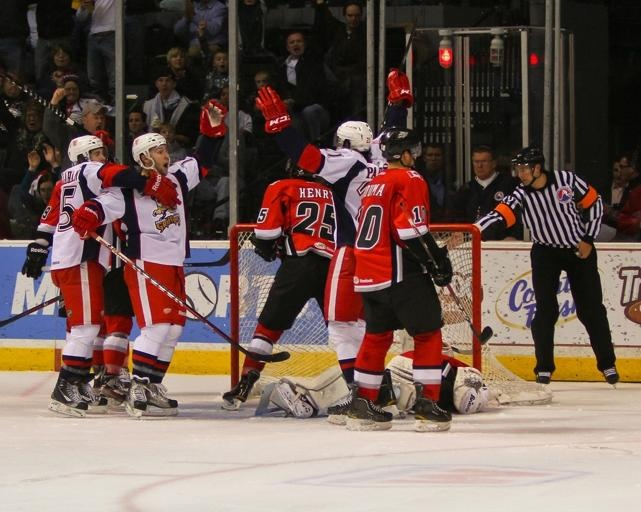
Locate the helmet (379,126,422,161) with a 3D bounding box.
[{"bbox_3d":[0.457,-0.664,6.314,0.235,0.168,0.171,-15,18,-10],"label":"helmet"}]

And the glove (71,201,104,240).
[{"bbox_3d":[-1.415,-0.241,6.536,0.095,0.221,0.221,22,18,-45],"label":"glove"}]

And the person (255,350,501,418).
[{"bbox_3d":[0.355,0.844,6.762,0.991,0.284,0.584,-2,-2,-1],"label":"person"}]

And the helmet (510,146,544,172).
[{"bbox_3d":[1.504,-0.725,7.716,0.217,0.185,0.164,8,-12,-15],"label":"helmet"}]

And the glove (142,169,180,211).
[{"bbox_3d":[-0.982,-0.411,6.667,0.071,0.241,0.193,-5,42,50],"label":"glove"}]

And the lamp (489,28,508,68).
[{"bbox_3d":[1.396,-1.661,8.455,0.133,0.305,0.057,1,3,-1],"label":"lamp"}]

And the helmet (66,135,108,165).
[{"bbox_3d":[-1.552,-0.712,7.076,0.219,0.194,0.172,-13,10,1],"label":"helmet"}]

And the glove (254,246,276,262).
[{"bbox_3d":[-0.352,-0.021,6.835,0.083,0.103,0.095,21,40,36],"label":"glove"}]

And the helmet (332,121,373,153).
[{"bbox_3d":[0.212,-0.762,6.726,0.216,0.185,0.178,23,21,20],"label":"helmet"}]

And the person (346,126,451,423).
[{"bbox_3d":[0.483,0.121,6.133,0.601,1.745,0.366,2,3,16],"label":"person"}]

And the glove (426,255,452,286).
[{"bbox_3d":[0.650,0.089,6.034,0.133,0.151,0.167,-11,-23,-10],"label":"glove"}]

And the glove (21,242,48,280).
[{"bbox_3d":[-1.914,0.023,7.202,0.174,0.238,0.071,13,2,-24],"label":"glove"}]

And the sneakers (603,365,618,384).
[{"bbox_3d":[2.052,0.843,7.601,0.078,0.131,0.057,-15,-19,6],"label":"sneakers"}]

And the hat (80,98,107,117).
[{"bbox_3d":[-1.869,-1.236,8.815,0.188,0.064,0.120,-6,-3,33],"label":"hat"}]

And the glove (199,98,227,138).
[{"bbox_3d":[-0.711,-0.915,7.096,0.198,0.235,0.094,9,4,-17],"label":"glove"}]
